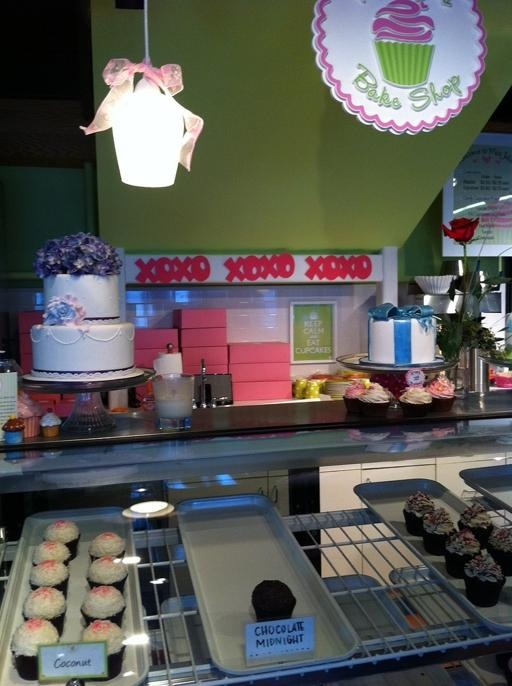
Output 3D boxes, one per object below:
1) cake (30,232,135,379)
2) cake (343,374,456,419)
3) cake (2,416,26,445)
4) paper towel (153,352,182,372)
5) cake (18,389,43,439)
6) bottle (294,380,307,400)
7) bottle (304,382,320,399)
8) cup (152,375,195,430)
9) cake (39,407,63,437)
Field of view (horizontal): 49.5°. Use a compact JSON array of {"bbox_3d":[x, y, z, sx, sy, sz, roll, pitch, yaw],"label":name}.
[{"bbox_3d":[-0.345,-0.083,1.145,0.218,0.274,0.211,-8,9,-44],"label":"cake"},{"bbox_3d":[0.298,0.104,1.150,0.221,0.089,0.147,2,15,5],"label":"cake"},{"bbox_3d":[-0.399,0.140,0.928,0.041,0.045,0.039,-4,12,-42],"label":"cake"},{"bbox_3d":[-0.275,0.059,1.762,0.094,0.088,0.058,0,3,-1],"label":"paper towel"},{"bbox_3d":[-0.414,0.126,0.992,0.057,0.079,0.058,-5,-2,-18],"label":"cake"},{"bbox_3d":[0.268,0.277,3.287,0.098,0.146,0.095,1,2,0],"label":"bottle"},{"bbox_3d":[0.335,0.274,3.222,0.092,0.130,0.085,1,-1,0],"label":"bottle"},{"bbox_3d":[-0.152,0.114,1.048,0.074,0.096,0.106,-3,15,-11],"label":"cup"},{"bbox_3d":[-0.357,0.142,0.971,0.038,0.042,0.038,0,-4,22],"label":"cake"}]
